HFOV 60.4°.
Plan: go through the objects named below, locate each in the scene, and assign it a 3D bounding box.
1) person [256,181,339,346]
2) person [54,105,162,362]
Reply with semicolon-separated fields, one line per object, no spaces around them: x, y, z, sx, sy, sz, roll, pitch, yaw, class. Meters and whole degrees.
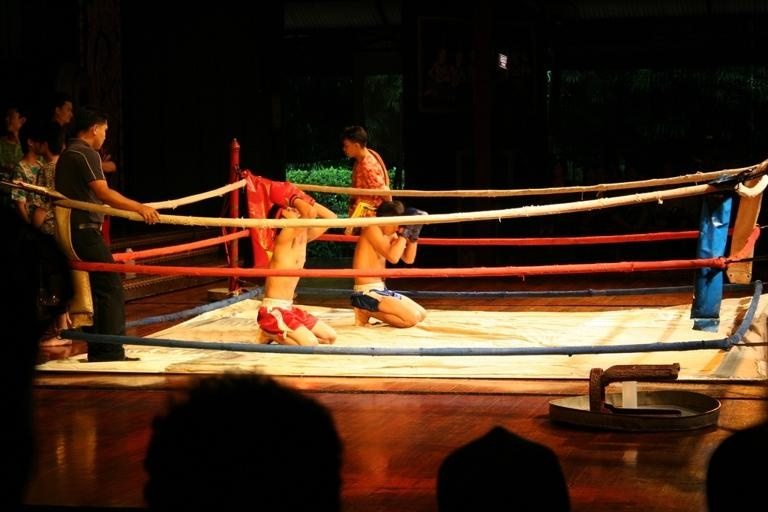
-0.577;0.068;4.310;0.528;1.088;0.746;-2;8;-5;person
-1.768;-0.119;4.126;0.510;1.572;0.967;-6;9;-25;person
